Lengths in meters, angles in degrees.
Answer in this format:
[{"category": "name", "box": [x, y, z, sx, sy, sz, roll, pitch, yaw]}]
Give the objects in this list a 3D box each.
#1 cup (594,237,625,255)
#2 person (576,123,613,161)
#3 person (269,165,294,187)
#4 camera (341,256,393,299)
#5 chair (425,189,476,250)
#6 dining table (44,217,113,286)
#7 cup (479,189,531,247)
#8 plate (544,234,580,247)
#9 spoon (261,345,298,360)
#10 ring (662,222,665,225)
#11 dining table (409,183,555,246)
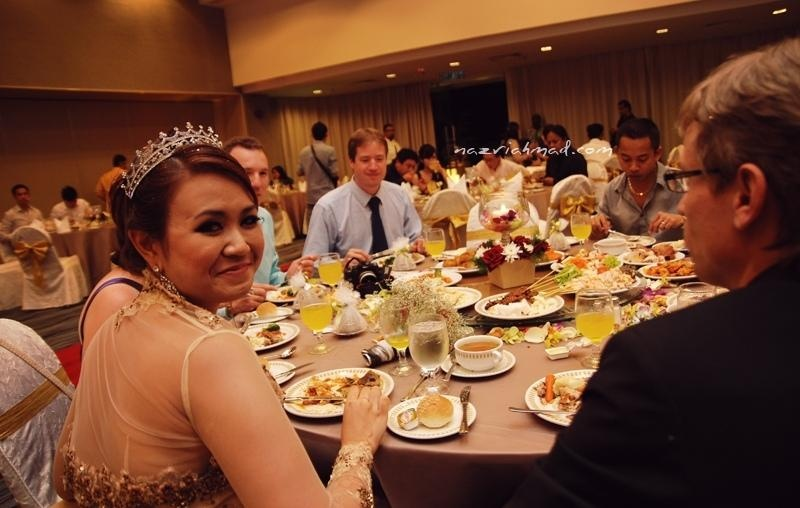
[{"category": "cup", "box": [1.090, -0.039, 2.903, 0.114, 0.052, 0.099, -1, 8, 30]}, {"category": "person", "box": [3.142, -1.935, 8.990, 0.256, 0.236, 0.726, 1, 0, -7]}, {"category": "person", "box": [-2.491, -1.645, 11.778, 0.317, 0.302, 0.891, 15, 9, -31]}, {"category": "camera", "box": [-0.146, 0.097, 2.516, 0.218, 0.136, 0.155, -3, 7, -27]}, {"category": "chair", "box": [0.429, -0.306, 4.860, 0.410, 0.538, 0.527, 1, 20, 7]}, {"category": "dining table", "box": [-3.914, 0.000, 6.825, 0.839, 0.895, 0.846, -4, 2, -24]}, {"category": "cup", "box": [0.529, -0.182, 2.943, 0.276, 0.298, 0.278, -4, 10, 1]}, {"category": "plate", "box": [0.912, -0.069, 3.202, 0.126, 0.053, 0.126, -2, 3, 1]}, {"category": "spoon", "box": [-0.426, 0.370, 2.082, 0.169, 0.030, 0.036, -8, 20, -21]}, {"category": "ring", "box": [1.485, -0.173, 3.157, 0.014, 0.010, 0.014, -5, 14, 1]}, {"category": "dining table", "box": [0.679, -0.362, 4.724, 0.805, 0.289, 0.792, -15, -2, -13]}]
